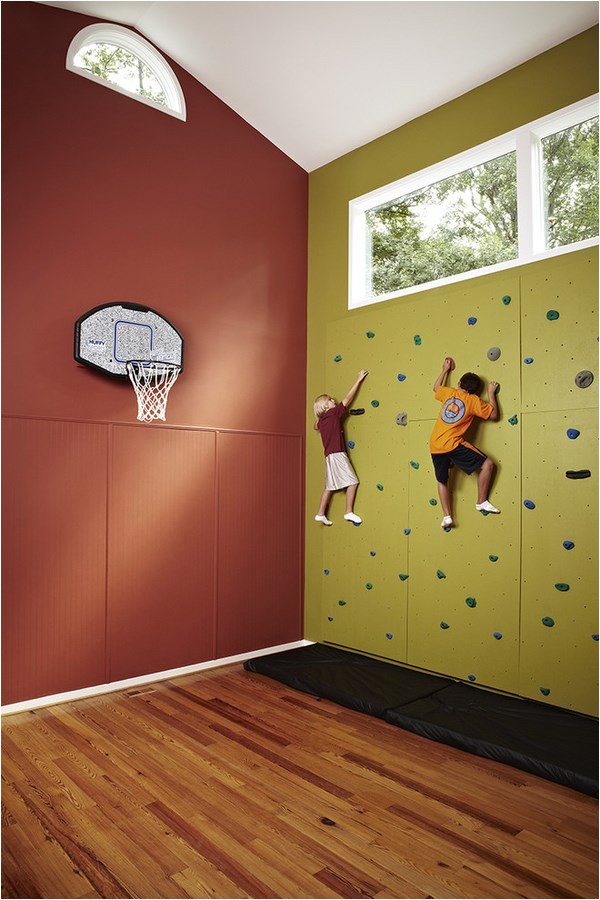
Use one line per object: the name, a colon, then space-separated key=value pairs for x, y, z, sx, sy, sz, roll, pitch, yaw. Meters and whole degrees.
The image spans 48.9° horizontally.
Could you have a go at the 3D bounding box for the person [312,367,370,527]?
person: x=0.287 y=0.003 z=4.996 sx=0.190 sy=1.165 sz=0.532 roll=1 pitch=-2 yaw=-30

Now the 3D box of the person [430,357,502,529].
person: x=0.998 y=0.022 z=4.064 sx=0.195 sy=0.983 sz=0.437 roll=1 pitch=-3 yaw=-42
